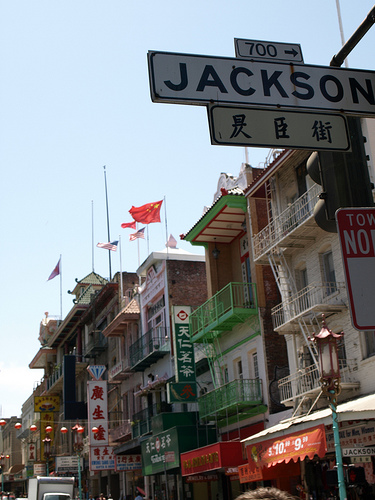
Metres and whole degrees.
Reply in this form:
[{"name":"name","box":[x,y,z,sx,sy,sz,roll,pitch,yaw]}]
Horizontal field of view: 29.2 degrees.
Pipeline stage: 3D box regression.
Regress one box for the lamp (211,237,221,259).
[{"name":"lamp","box":[1.248,-0.047,30.952,0.299,1.021,1.046,-7,-20,5]}]
